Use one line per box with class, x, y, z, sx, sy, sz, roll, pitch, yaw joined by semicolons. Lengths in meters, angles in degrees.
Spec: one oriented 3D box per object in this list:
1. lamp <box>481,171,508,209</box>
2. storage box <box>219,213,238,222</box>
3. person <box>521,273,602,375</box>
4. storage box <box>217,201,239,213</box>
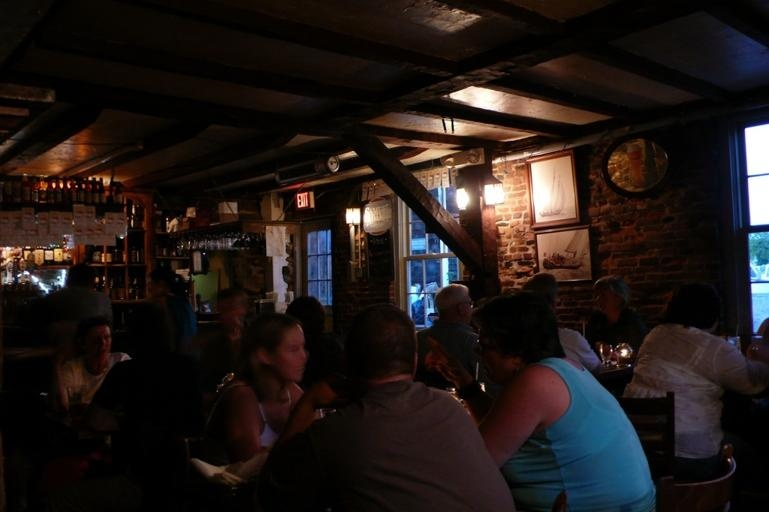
lamp;1.470;-0.888;8.391;0.405;0.641;0.389;-2;3;-1
storage box;-2.908;-0.717;11.615;0.390;0.114;0.277;-4;-2;-26
person;1.508;0.531;5.090;0.755;0.667;0.348;-25;5;-8
storage box;-2.971;-0.895;11.660;0.272;0.191;0.268;-2;-2;33
